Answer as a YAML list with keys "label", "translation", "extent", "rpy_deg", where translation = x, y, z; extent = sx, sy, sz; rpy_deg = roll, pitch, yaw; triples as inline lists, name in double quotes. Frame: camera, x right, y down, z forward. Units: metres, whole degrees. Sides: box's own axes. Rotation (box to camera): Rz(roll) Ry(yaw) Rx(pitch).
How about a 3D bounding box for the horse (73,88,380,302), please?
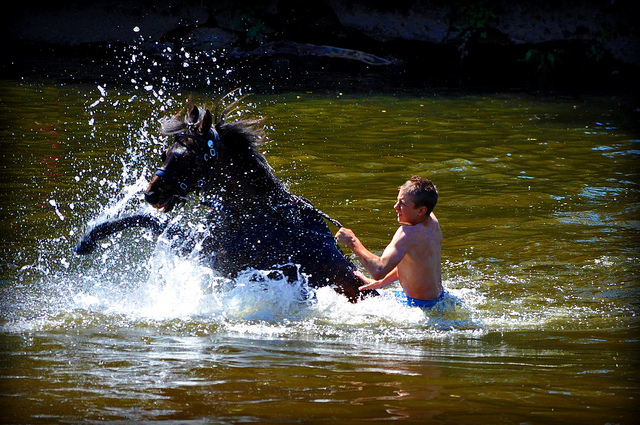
- label: "horse"
  translation: [-1.466, 0.041, 19.201]
  extent: [1.567, 3.876, 5.938]
  rpy_deg: [19, 0, 40]
